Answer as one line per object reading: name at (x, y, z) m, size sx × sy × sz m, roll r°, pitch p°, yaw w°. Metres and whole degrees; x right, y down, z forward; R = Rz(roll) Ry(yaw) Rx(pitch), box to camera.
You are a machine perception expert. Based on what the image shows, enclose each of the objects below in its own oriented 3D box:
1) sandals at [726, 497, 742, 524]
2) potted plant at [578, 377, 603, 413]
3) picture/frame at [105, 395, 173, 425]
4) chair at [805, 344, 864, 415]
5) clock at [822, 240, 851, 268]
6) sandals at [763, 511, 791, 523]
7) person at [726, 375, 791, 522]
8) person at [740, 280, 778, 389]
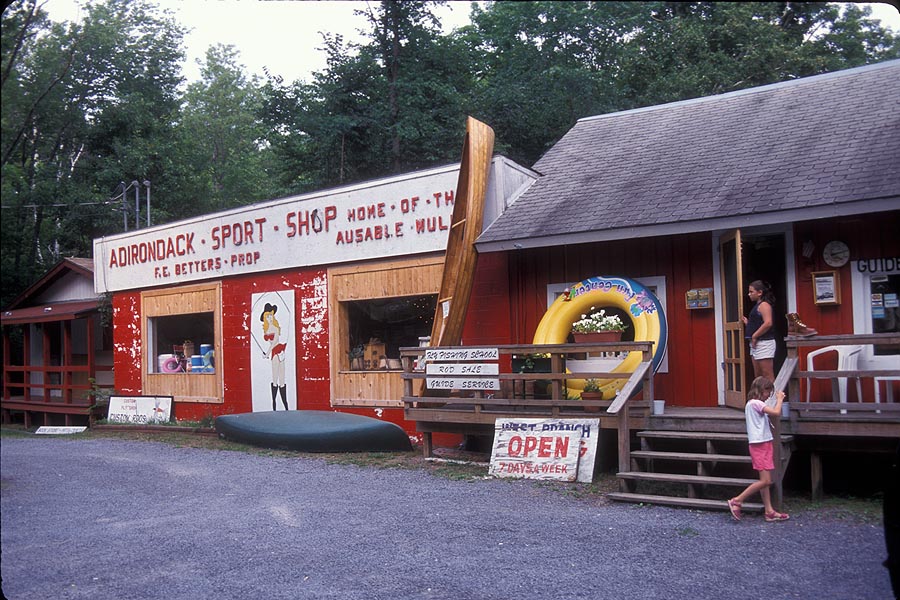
sandals at (3.587, 2.606, 8.430) m, size 0.164 × 0.275 × 0.398 m, roll -1°, pitch -6°, yaw 22°
potted plant at (2.374, 1.528, 11.191) m, size 0.334 × 0.364 × 0.333 m, roll -2°, pitch -4°, yaw 41°
picture/frame at (-8.943, 3.151, 19.380) m, size 2.713 × 0.804 × 0.706 m, roll -4°, pitch -7°, yaw 39°
chair at (5.931, 1.196, 10.255) m, size 0.813 × 1.136 × 0.907 m, roll 4°, pitch -8°, yaw -25°
clock at (6.405, -0.767, 11.039) m, size 0.354 × 0.410 × 0.059 m, roll -22°, pitch -18°, yaw 29°
sandals at (4.070, 2.671, 8.264) m, size 0.367 × 0.099 × 0.174 m, roll 2°, pitch -6°, yaw -8°
person at (3.920, 1.850, 8.462) m, size 0.834 × 1.752 × 0.501 m, roll 4°, pitch -6°, yaw -36°
person at (4.653, 0.445, 9.973) m, size 0.357 × 1.462 × 0.524 m, roll 0°, pitch -5°, yaw 9°
